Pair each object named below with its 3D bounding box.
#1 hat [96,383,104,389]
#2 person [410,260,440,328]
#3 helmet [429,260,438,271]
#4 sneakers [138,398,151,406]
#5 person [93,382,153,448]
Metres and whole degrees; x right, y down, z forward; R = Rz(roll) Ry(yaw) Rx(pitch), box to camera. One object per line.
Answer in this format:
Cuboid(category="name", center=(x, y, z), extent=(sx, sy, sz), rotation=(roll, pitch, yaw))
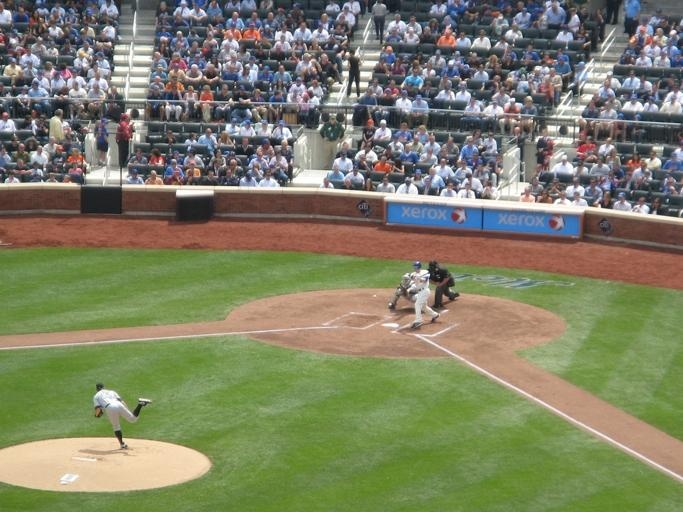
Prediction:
Cuboid(category="hat", center=(-5.146, 2.815, 26.075), extent=(0.165, 0.168, 0.185), rotation=(-2, 6, -29))
Cuboid(category="person", center=(2.043, 1.013, 32.176), extent=(0.888, 1.710, 1.081), rotation=(3, 4, 28))
Cuboid(category="helmet", center=(2.482, 0.259, 32.834), extent=(0.234, 0.228, 0.250), rotation=(2, 15, 8))
Cuboid(category="sneakers", center=(-4.158, 3.102, 25.694), extent=(0.237, 0.151, 0.376), rotation=(4, -8, -29))
Cuboid(category="person", center=(-4.738, 3.508, 25.956), extent=(1.150, 1.415, 0.539), rotation=(4, 10, 9))
